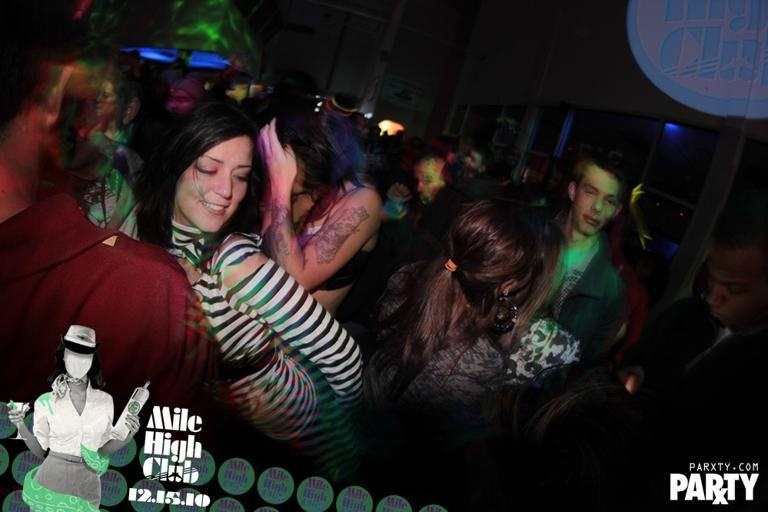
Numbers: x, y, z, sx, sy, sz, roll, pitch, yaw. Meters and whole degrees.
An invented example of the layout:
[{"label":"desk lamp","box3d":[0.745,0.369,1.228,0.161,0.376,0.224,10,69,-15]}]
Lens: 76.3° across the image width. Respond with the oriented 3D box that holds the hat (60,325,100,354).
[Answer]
[{"label":"hat","box3d":[-1.169,0.321,1.879,0.125,0.097,0.031,12,1,-5]}]
